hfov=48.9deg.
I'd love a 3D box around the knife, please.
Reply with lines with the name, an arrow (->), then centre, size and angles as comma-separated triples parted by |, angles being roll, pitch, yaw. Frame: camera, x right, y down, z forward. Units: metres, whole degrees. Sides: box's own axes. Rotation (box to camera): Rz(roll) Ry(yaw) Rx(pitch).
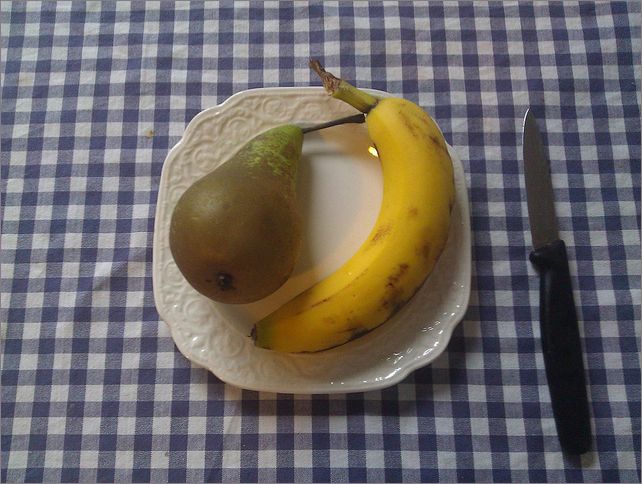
knife -> 0.431, 0.068, 1.322 | 0.066, 0.038, 0.652 | -6, 82, 0

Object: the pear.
pear -> -0.144, -0.059, 1.215 | 0.222, 0.113, 0.324 | 0, 82, 1
